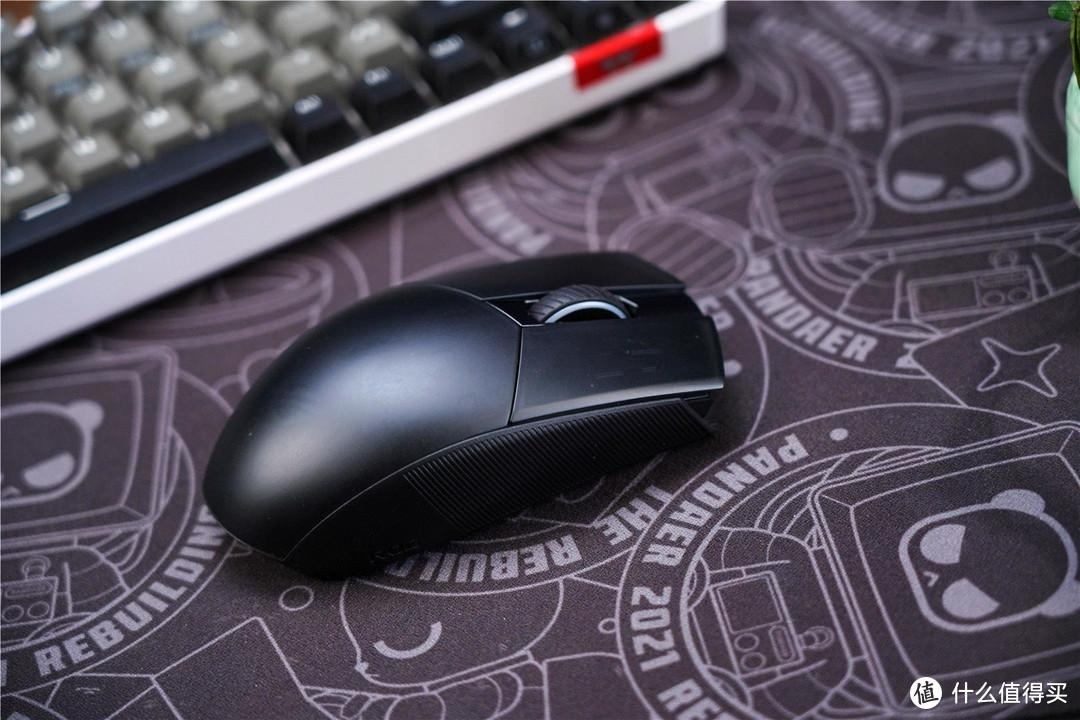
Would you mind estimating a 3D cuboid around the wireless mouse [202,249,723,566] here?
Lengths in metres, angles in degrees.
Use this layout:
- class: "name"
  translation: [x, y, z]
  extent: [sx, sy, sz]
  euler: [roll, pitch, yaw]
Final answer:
- class: "wireless mouse"
  translation: [-0.034, 0.044, 0.647]
  extent: [0.286, 0.091, 0.143]
  euler: [-21, 52, -9]
